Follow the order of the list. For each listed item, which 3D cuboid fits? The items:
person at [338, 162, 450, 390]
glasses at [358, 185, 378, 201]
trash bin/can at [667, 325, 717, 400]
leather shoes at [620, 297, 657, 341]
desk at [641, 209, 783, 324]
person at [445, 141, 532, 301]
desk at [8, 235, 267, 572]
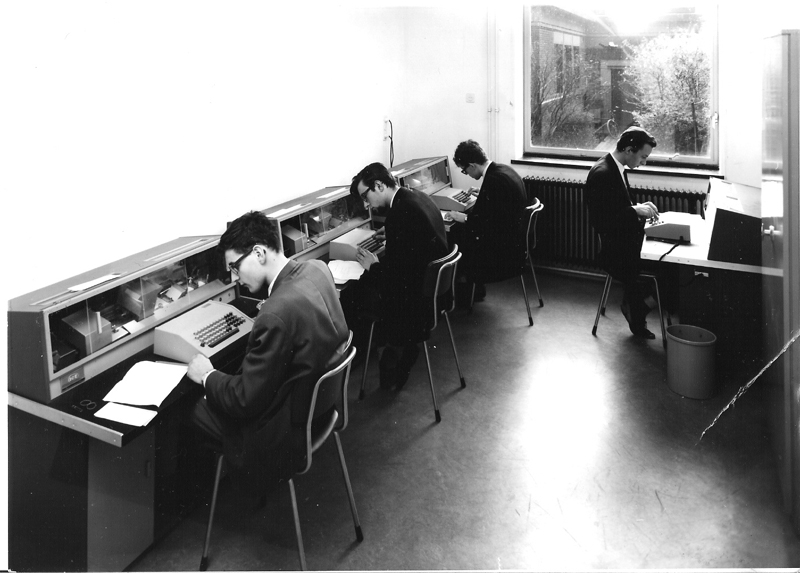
[{"bbox_3d":[-0.067,-0.069,3.689,0.817,1.426,0.464,5,21,30],"label":"person"},{"bbox_3d":[-0.203,-0.606,3.601,0.088,0.080,0.071,-35,5,13],"label":"glasses"},{"bbox_3d":[1.807,0.464,3.536,0.281,0.388,0.253,3,21,26],"label":"trash bin/can"},{"bbox_3d":[1.781,0.292,4.301,0.125,0.402,0.163,-30,10,-26],"label":"leather shoes"},{"bbox_3d":[1.959,-0.334,3.666,0.543,0.640,0.857,6,16,26],"label":"desk"},{"bbox_3d":[0.723,-0.465,4.590,0.611,1.389,0.426,1,19,20],"label":"person"},{"bbox_3d":[-1.156,0.566,2.494,0.557,1.095,1.198,4,14,8],"label":"desk"}]
